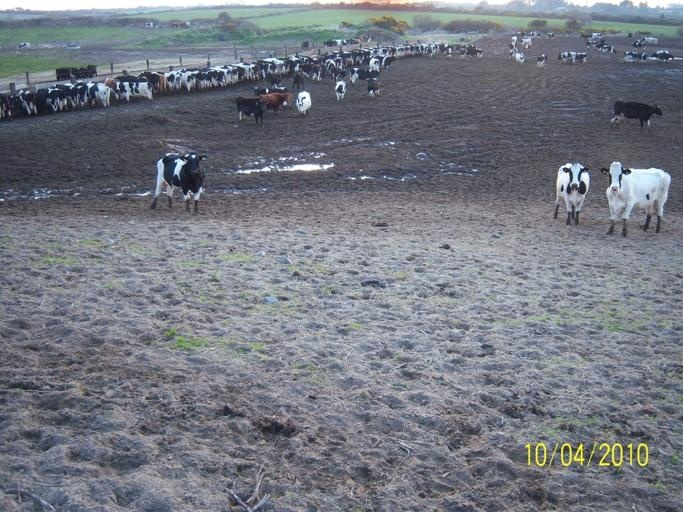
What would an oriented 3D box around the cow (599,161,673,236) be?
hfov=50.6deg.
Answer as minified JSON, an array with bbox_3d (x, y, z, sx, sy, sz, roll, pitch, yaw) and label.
[{"bbox_3d":[7.539,-1.487,18.436,1.765,1.846,0.566,-5,16,-17],"label":"cow"}]

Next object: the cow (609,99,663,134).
[{"bbox_3d":[12.296,-5.856,30.068,1.693,1.097,0.931,9,18,33],"label":"cow"}]

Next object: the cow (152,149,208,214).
[{"bbox_3d":[-4.274,-1.948,18.950,1.386,1.530,0.741,7,17,27],"label":"cow"}]
